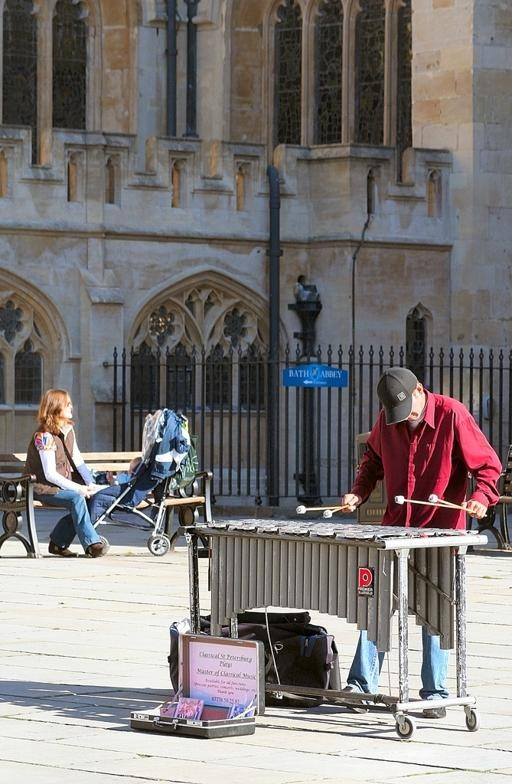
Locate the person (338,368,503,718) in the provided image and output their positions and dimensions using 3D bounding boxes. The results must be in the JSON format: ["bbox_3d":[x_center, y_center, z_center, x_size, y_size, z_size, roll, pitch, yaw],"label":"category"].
[{"bbox_3d":[0.774,0.681,10.472,0.669,1.761,0.674,0,-1,27],"label":"person"}]

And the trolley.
[{"bbox_3d":[0.332,1.042,10.118,1.303,0.930,0.797,0,-2,9],"label":"trolley"}]

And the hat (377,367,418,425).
[{"bbox_3d":[0.625,0.020,10.200,0.125,0.299,0.132,-9,10,-39],"label":"hat"}]

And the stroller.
[{"bbox_3d":[-0.767,0.667,16.790,0.711,1.365,1.053,-1,-3,38],"label":"stroller"}]

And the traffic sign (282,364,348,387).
[{"bbox_3d":[0.516,-0.139,20.311,0.561,0.225,0.350,0,-2,-2],"label":"traffic sign"}]
